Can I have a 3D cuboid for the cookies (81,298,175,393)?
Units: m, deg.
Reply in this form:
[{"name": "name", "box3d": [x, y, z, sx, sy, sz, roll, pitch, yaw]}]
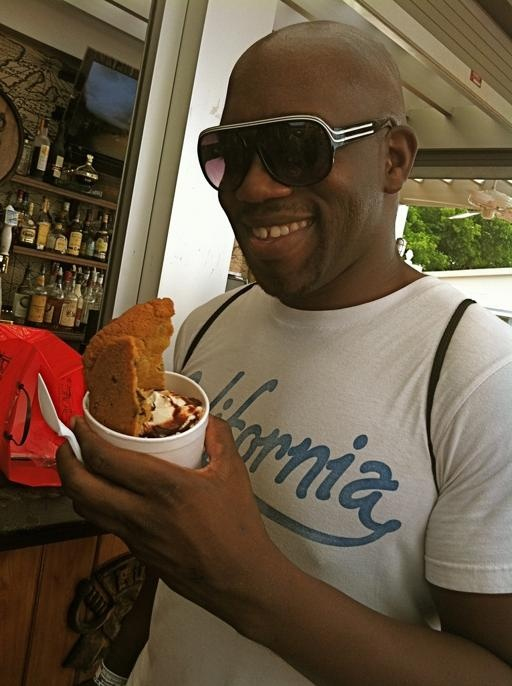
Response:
[{"name": "cookies", "box3d": [-0.144, 0.015, 0.722, 0.036, 0.126, 0.119, 43, 27, -38]}]
